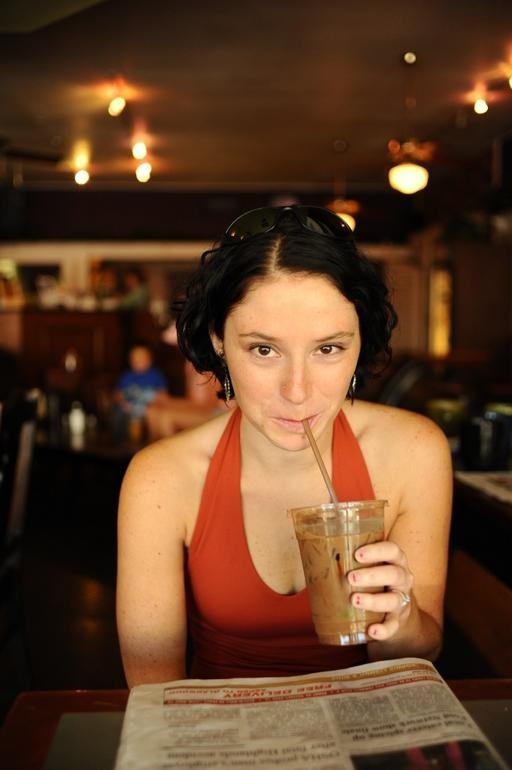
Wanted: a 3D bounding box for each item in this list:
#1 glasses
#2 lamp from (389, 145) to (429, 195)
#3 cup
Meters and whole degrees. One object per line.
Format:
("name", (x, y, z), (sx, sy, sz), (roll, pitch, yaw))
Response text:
("glasses", (0.062, -0.292, 1.177), (0.213, 0.083, 0.122), (-6, 4, -24))
("lamp", (0.379, -0.557, 1.690), (0.105, 0.111, 0.100), (-12, 23, -32))
("cup", (0.120, 0.260, 0.878), (0.112, 0.230, 0.101), (-3, 5, 23))
